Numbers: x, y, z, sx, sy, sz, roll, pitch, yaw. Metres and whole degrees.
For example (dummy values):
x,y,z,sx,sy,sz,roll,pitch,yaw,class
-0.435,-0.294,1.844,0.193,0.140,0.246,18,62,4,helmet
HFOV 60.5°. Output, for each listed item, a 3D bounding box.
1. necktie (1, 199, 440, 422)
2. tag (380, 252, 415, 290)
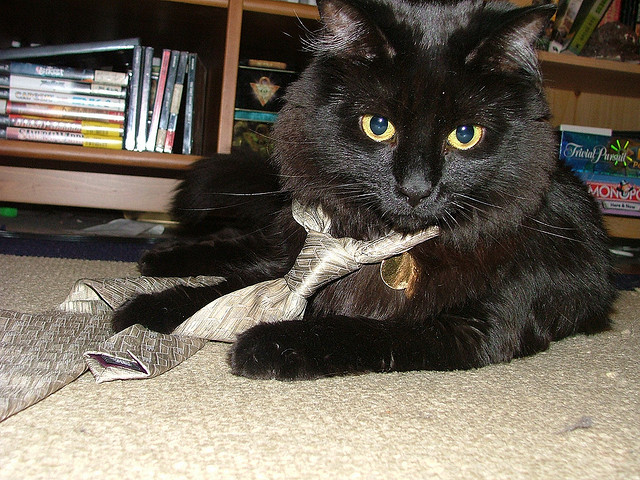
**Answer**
x,y,z,sx,sy,sz,roll,pitch,yaw,class
-0.060,0.075,0.987,0.965,0.085,0.288,-9,16,-18,necktie
0.146,0.063,1.054,0.081,0.070,0.014,-2,-5,6,tag
